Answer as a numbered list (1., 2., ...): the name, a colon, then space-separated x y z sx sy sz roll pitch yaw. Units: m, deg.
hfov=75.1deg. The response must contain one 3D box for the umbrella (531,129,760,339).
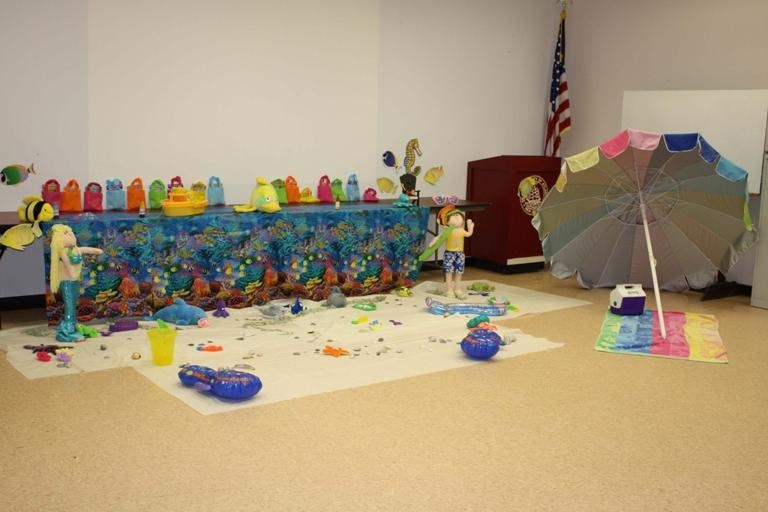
1. umbrella: 3.366 -0.795 7.122 2.692 2.683 2.582 10 35 2

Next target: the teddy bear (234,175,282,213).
1. teddy bear: -1.476 -0.732 5.863 0.459 0.285 0.465 6 10 33

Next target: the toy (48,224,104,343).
1. toy: -2.985 0.240 4.781 0.506 1.063 0.413 12 16 39

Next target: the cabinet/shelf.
1. cabinet/shelf: 2.101 -0.754 8.350 1.272 1.861 1.249 -3 9 -16

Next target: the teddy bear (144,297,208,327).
1. teddy bear: -2.149 0.606 5.213 0.508 0.217 0.312 1 5 1

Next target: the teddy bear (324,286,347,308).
1. teddy bear: -0.577 0.494 5.897 0.233 0.234 0.236 0 1 -1
